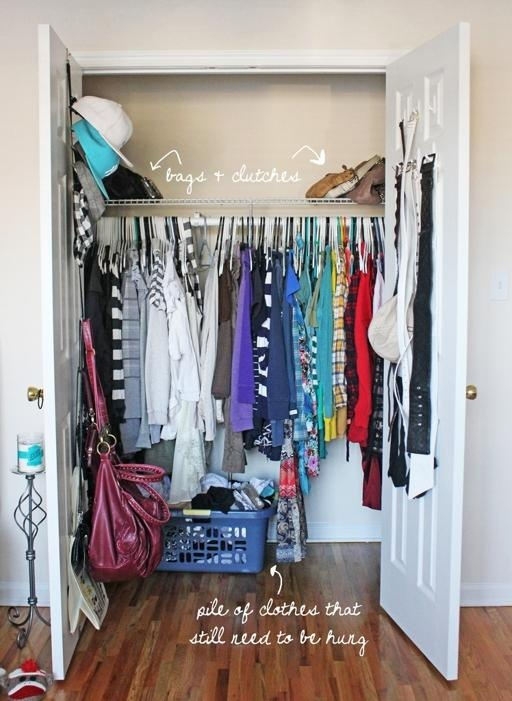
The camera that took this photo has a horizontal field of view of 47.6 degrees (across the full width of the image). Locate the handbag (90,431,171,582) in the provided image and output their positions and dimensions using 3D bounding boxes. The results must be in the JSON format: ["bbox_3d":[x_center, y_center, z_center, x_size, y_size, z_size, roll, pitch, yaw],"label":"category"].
[{"bbox_3d":[-0.454,0.581,2.132,0.195,0.522,0.318,-10,-13,22],"label":"handbag"}]

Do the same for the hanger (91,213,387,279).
[{"bbox_3d":[-0.074,-0.463,2.611,1.269,0.287,0.369,0,5,-4],"label":"hanger"}]

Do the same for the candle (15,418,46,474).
[{"bbox_3d":[-0.786,0.343,2.044,0.110,0.220,0.114,-2,-7,37],"label":"candle"}]

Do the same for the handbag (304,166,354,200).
[{"bbox_3d":[0.333,-0.753,2.599,0.173,0.079,0.088,-41,-14,8],"label":"handbag"}]

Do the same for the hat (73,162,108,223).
[{"bbox_3d":[-0.582,-0.555,2.032,0.034,0.166,0.094,-16,23,-15],"label":"hat"}]

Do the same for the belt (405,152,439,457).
[{"bbox_3d":[0.536,-0.146,1.869,0.078,0.945,0.110,2,4,28],"label":"belt"}]
